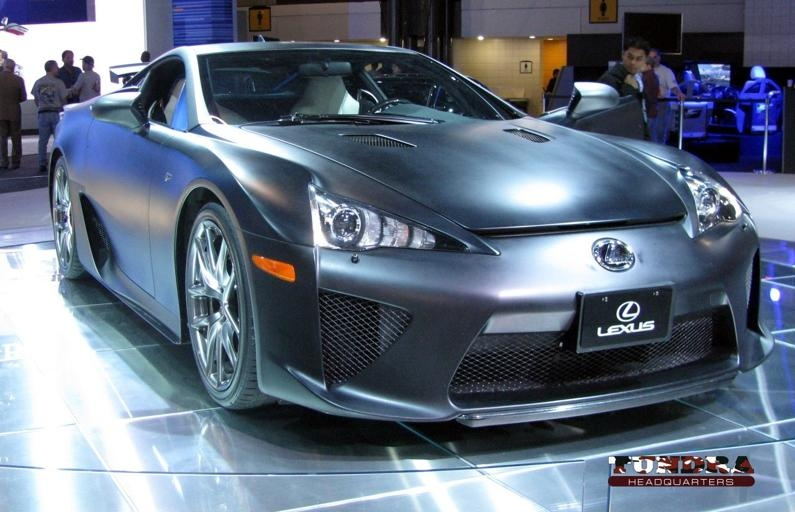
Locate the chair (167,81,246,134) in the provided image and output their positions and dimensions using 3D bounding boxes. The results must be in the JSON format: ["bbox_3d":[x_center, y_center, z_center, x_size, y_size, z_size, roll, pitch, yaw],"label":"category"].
[{"bbox_3d":[-0.983,-0.776,3.054,0.443,0.225,0.289,21,36,22],"label":"chair"}]

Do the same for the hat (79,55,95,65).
[{"bbox_3d":[-6.269,-3.939,11.784,0.192,0.181,0.233,19,-8,-36],"label":"hat"}]

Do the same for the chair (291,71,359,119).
[{"bbox_3d":[-0.420,-0.926,3.437,0.370,0.369,0.241,-3,11,-22],"label":"chair"}]
